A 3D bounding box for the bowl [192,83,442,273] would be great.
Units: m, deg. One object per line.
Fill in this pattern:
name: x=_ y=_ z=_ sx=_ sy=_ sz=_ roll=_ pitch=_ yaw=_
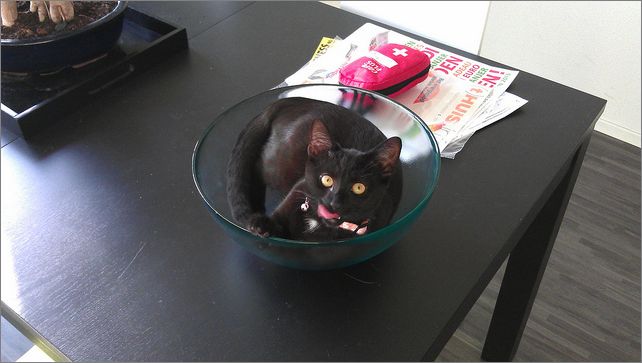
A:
bowl: x=-0.009 y=0.027 z=1.147 sx=0.459 sy=0.160 sz=0.450 roll=0 pitch=48 yaw=0
